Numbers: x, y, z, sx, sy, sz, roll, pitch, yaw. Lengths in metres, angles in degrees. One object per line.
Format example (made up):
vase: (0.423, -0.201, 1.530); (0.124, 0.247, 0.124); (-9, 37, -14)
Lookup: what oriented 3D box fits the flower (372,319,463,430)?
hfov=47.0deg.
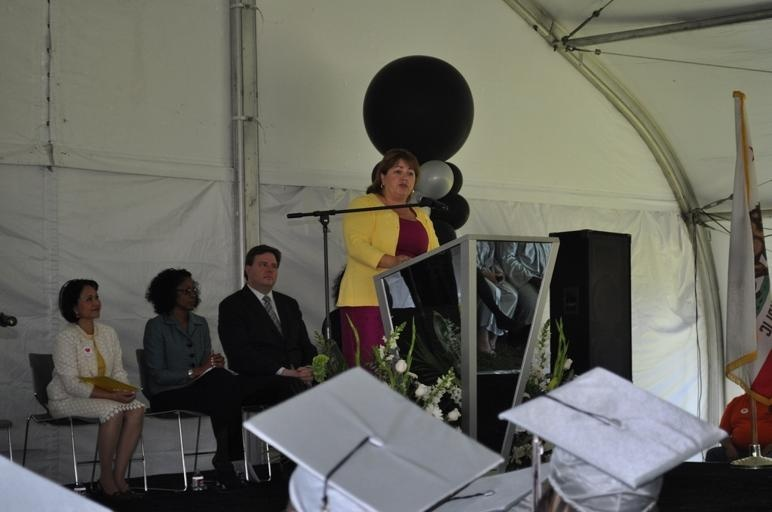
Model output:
flower: (0.263, 0.782, 5.578); (0.579, 0.529, 0.606); (22, -8, 25)

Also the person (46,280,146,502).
person: (-2.272, 0.999, 6.935); (0.640, 1.671, 0.554); (0, -6, -32)

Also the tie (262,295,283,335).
tie: (-0.961, 0.472, 7.497); (0.116, 0.358, 0.017); (-12, -17, -38)

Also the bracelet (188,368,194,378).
bracelet: (-1.637, 0.961, 7.427); (0.039, 0.052, 0.054); (3, -21, -10)

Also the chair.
chair: (-2.251, 1.329, 7.423); (1.125, 1.549, 1.394); (-17, -21, 40)

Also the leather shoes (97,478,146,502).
leather shoes: (-2.029, 1.774, 6.742); (0.314, 0.133, 0.170); (-6, -10, 15)

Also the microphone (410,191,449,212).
microphone: (0.276, -0.446, 6.851); (0.123, 0.130, 0.463); (7, 7, -21)
